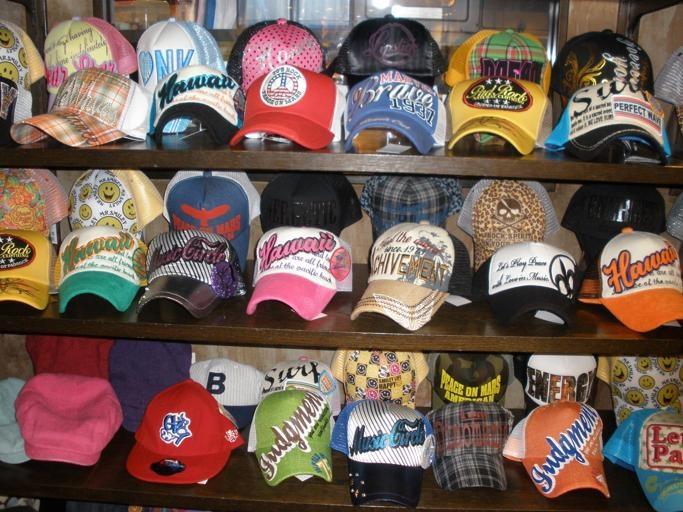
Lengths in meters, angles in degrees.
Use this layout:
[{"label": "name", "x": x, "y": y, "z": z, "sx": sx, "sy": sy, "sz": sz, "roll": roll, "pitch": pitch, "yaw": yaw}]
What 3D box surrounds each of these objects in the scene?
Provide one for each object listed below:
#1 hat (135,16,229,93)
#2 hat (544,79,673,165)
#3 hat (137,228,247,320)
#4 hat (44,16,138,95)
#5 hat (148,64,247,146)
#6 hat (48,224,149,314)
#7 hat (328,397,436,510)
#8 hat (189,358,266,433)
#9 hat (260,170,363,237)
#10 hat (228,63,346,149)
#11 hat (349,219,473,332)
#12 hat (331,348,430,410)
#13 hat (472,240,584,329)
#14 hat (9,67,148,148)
[{"label": "hat", "x": -0.501, "y": -0.660, "z": 2.186, "sx": 0.193, "sy": 0.176, "sz": 0.299, "roll": 25, "pitch": 31, "yaw": 34}, {"label": "hat", "x": 0.776, "y": -0.399, "z": 1.988, "sx": 0.219, "sy": 0.176, "sz": 0.312, "roll": -7, "pitch": 14, "yaw": -32}, {"label": "hat", "x": -0.475, "y": 0.047, "z": 2.047, "sx": 0.203, "sy": 0.180, "sz": 0.307, "roll": 3, "pitch": 2, "yaw": 8}, {"label": "hat", "x": -0.789, "y": -0.672, "z": 2.188, "sx": 0.281, "sy": 0.166, "sz": 0.205, "roll": -15, "pitch": 35, "yaw": -28}, {"label": "hat", "x": -0.428, "y": -0.448, "z": 1.931, "sx": 0.192, "sy": 0.155, "sz": 0.281, "roll": 2, "pitch": 16, "yaw": -1}, {"label": "hat", "x": -0.750, "y": 0.026, "z": 2.103, "sx": 0.196, "sy": 0.155, "sz": 0.294, "roll": 3, "pitch": 14, "yaw": -13}, {"label": "hat", "x": 0.135, "y": 0.624, "z": 2.129, "sx": 0.269, "sy": 0.161, "sz": 0.299, "roll": 5, "pitch": 46, "yaw": 0}, {"label": "hat", "x": -0.398, "y": 0.481, "z": 2.394, "sx": 0.178, "sy": 0.158, "sz": 0.283, "roll": -3, "pitch": 8, "yaw": -33}, {"label": "hat", "x": -0.121, "y": -0.208, "z": 2.230, "sx": 0.270, "sy": 0.155, "sz": 0.187, "roll": -20, "pitch": 29, "yaw": -41}, {"label": "hat", "x": -0.140, "y": -0.443, "z": 1.991, "sx": 0.220, "sy": 0.174, "sz": 0.314, "roll": 6, "pitch": 31, "yaw": 13}, {"label": "hat", "x": 0.215, "y": 0.032, "z": 2.100, "sx": 0.259, "sy": 0.237, "sz": 0.389, "roll": 12, "pitch": 27, "yaw": 30}, {"label": "hat", "x": 0.129, "y": 0.448, "z": 2.406, "sx": 0.264, "sy": 0.221, "sz": 0.458, "roll": 1, "pitch": -13, "yaw": 7}, {"label": "hat", "x": 0.564, "y": 0.070, "z": 1.975, "sx": 0.197, "sy": 0.168, "sz": 0.290, "roll": 0, "pitch": 6, "yaw": 1}, {"label": "hat", "x": -0.788, "y": -0.447, "z": 2.025, "sx": 0.345, "sy": 0.192, "sz": 0.234, "roll": -1, "pitch": 19, "yaw": -39}]
